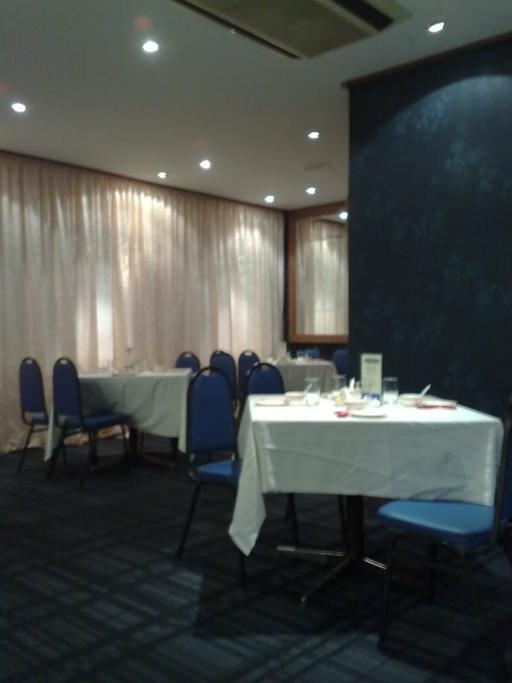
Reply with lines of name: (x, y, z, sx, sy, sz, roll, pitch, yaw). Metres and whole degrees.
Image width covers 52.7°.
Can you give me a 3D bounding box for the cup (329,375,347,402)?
cup: (0.381, 0.233, 2.393, 0.063, 0.131, 0.103, -1, -8, 12)
